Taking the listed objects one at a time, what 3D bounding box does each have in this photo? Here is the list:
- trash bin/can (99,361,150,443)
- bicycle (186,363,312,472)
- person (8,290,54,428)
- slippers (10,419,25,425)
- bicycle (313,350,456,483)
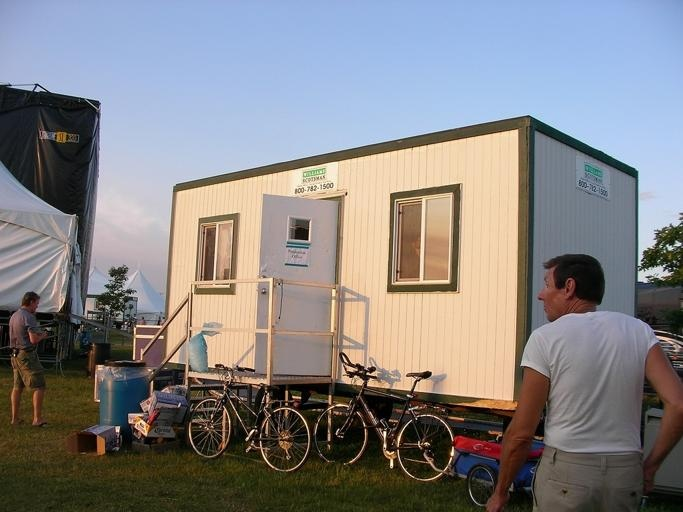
[{"bbox_3d":[-3.056,1.990,8.270,0.601,1.034,0.628,0,-2,38],"label":"trash bin/can"},{"bbox_3d":[-1.129,2.087,7.334,1.922,1.201,0.863,9,-11,35],"label":"bicycle"},{"bbox_3d":[-4.587,1.474,8.601,0.501,1.884,1.063,3,-3,-28],"label":"person"},{"bbox_3d":[-4.557,2.323,8.269,0.070,0.053,0.142,2,3,38],"label":"slippers"},{"bbox_3d":[0.508,1.982,7.063,1.815,1.262,0.782,0,-15,27],"label":"bicycle"}]
